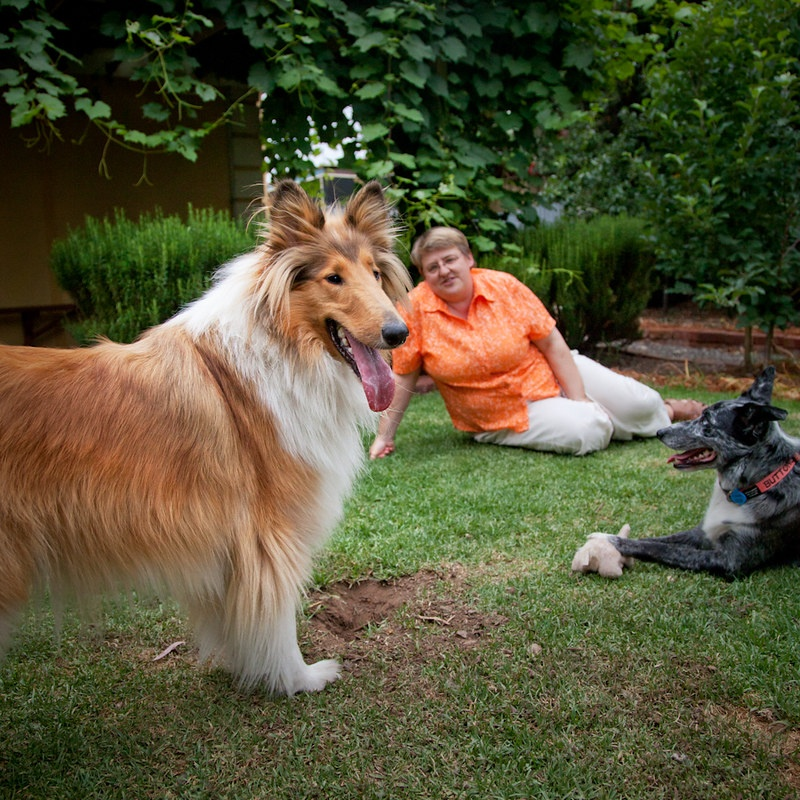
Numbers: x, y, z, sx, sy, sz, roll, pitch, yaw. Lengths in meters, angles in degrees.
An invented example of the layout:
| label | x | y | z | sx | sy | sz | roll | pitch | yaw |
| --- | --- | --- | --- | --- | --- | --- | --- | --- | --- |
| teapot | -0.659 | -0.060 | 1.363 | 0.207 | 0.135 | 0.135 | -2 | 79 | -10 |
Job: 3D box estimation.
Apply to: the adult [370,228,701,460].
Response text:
| label | x | y | z | sx | sy | sz | roll | pitch | yaw |
| --- | --- | --- | --- | --- | --- | --- | --- | --- | --- |
| adult | 0.757 | -0.308 | 6.419 | 1.423 | 1.067 | 2.398 | -12 | -22 | 42 |

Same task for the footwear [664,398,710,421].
| label | x | y | z | sx | sy | sz | roll | pitch | yaw |
| --- | --- | --- | --- | --- | --- | --- | --- | --- | --- |
| footwear | 2.081 | 0.098 | 6.842 | 0.241 | 0.118 | 0.306 | 2 | -1 | 20 |

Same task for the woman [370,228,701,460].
| label | x | y | z | sx | sy | sz | roll | pitch | yaw |
| --- | --- | --- | --- | --- | --- | --- | --- | --- | --- |
| woman | 1.102 | -0.197 | 6.741 | 1.423 | 1.067 | 2.398 | -12 | -22 | 42 |

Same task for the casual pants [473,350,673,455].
| label | x | y | z | sx | sy | sz | roll | pitch | yaw |
| --- | --- | --- | --- | --- | --- | --- | --- | --- | --- |
| casual pants | 1.405 | 0.131 | 6.793 | 1.006 | 0.448 | 1.268 | -4 | -7 | -12 |

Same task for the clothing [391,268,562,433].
| label | x | y | z | sx | sy | sz | roll | pitch | yaw |
| --- | --- | --- | --- | --- | --- | --- | --- | --- | --- |
| clothing | 0.532 | -0.316 | 6.538 | 1.210 | 1.066 | 0.635 | -18 | 13 | 8 |
